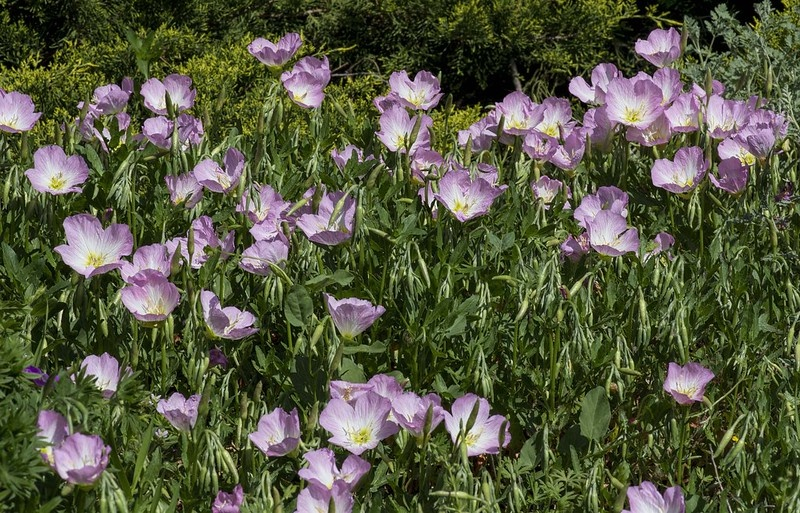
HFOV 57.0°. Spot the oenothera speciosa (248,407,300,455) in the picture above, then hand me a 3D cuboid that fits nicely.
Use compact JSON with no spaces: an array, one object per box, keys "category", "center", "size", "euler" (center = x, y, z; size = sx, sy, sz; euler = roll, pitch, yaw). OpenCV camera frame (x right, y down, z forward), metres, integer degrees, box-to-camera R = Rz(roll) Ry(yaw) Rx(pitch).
[{"category":"oenothera speciosa","center":[-0.378,0.549,2.212],"size":[0.148,0.196,0.124],"euler":[-7,50,-9]}]

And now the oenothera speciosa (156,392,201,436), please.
[{"category":"oenothera speciosa","center":[-0.679,0.473,2.245],"size":[0.118,0.089,0.123],"euler":[-2,12,-16]}]

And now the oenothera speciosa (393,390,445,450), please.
[{"category":"oenothera speciosa","center":[0.062,0.477,2.163],"size":[0.131,0.142,0.163],"euler":[0,84,-38]}]

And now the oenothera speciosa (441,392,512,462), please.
[{"category":"oenothera speciosa","center":[0.232,0.526,2.178],"size":[0.157,0.104,0.213],"euler":[9,67,-16]}]

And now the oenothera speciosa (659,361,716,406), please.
[{"category":"oenothera speciosa","center":[0.896,0.412,2.304],"size":[0.142,0.137,0.116],"euler":[-5,51,-7]}]
